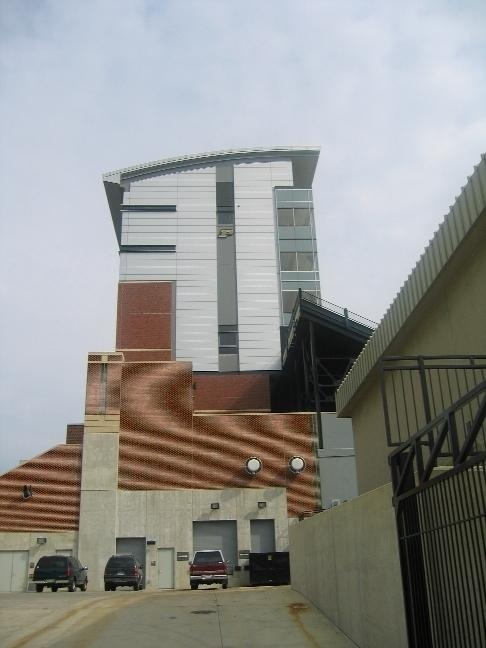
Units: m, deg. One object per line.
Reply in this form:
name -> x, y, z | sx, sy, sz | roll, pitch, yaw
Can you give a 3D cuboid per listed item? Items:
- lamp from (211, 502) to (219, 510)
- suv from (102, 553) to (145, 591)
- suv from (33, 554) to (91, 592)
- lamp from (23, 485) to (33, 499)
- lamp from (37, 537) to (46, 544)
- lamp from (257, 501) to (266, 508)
lamp -> -1.617, 10.364, 33.471 | 0.488, 0.476, 0.334 | 1, -8, 0
suv -> -5.390, 11.172, 26.563 | 1.405, 1.309, 2.576 | -1, -15, -2
suv -> -7.808, 10.609, 25.584 | 1.786, 1.315, 3.154 | -3, -19, 3
lamp -> -12.550, 9.735, 34.001 | 0.516, 0.981, 0.700 | 0, -7, 0
lamp -> -11.446, 12.227, 33.166 | 0.586, 0.396, 0.294 | -2, -12, 2
lamp -> 1.051, 10.348, 33.692 | 0.560, 0.516, 0.294 | 0, -6, 1
